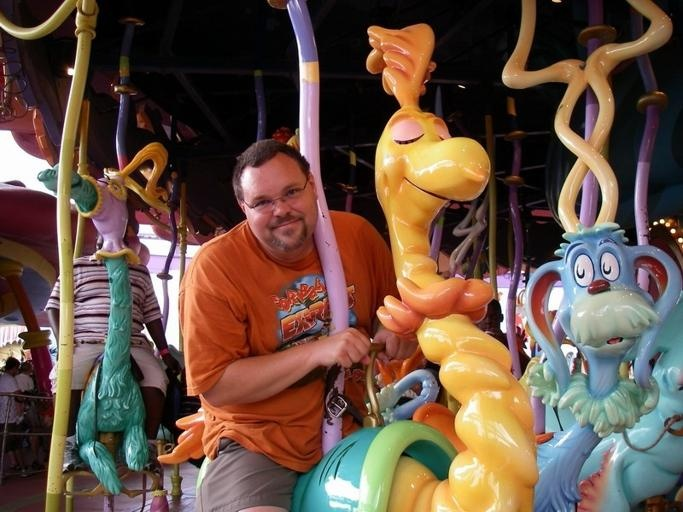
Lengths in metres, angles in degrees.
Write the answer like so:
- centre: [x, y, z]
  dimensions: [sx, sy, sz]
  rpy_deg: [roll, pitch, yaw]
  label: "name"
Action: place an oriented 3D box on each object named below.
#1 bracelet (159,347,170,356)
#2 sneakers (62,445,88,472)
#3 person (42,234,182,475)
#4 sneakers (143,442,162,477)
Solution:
- centre: [-1.449, 0.781, 4.611]
  dimensions: [0.064, 0.056, 0.068]
  rpy_deg: [0, -12, -6]
  label: "bracelet"
- centre: [-1.698, 1.284, 3.588]
  dimensions: [0.105, 0.158, 0.267]
  rpy_deg: [-1, -18, -25]
  label: "sneakers"
- centre: [-1.586, 0.606, 4.112]
  dimensions: [1.006, 1.687, 0.965]
  rpy_deg: [7, -20, -42]
  label: "person"
- centre: [-1.282, 1.379, 3.842]
  dimensions: [0.085, 0.239, 0.339]
  rpy_deg: [-5, -16, -9]
  label: "sneakers"
